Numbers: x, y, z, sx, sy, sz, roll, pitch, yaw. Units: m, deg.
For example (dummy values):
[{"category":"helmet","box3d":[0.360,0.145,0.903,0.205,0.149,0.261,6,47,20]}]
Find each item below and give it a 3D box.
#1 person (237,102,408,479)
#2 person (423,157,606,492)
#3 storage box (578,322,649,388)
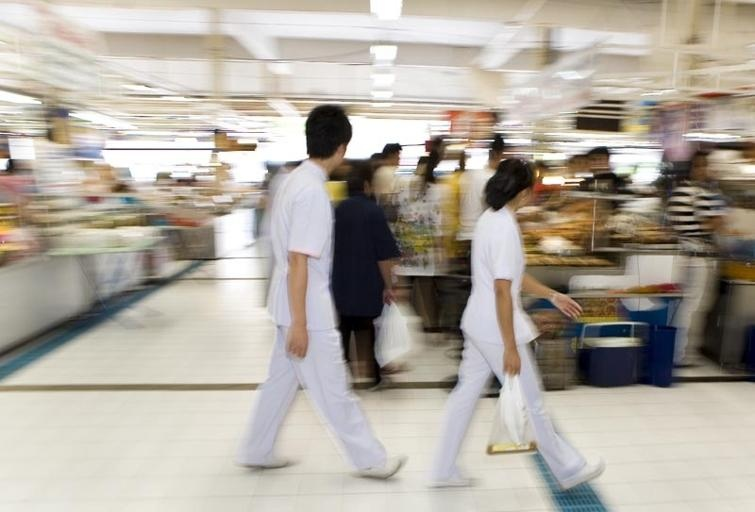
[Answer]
[{"category":"person","box3d":[-0.437,0.338,3.686,1.104,2.555,0.542,-1,16,0]},{"category":"person","box3d":[0.898,0.510,3.630,0.965,2.242,0.582,3,17,16]},{"category":"storage box","box3d":[2.326,0.881,5.417,0.812,0.531,0.742,1,8,28]}]
